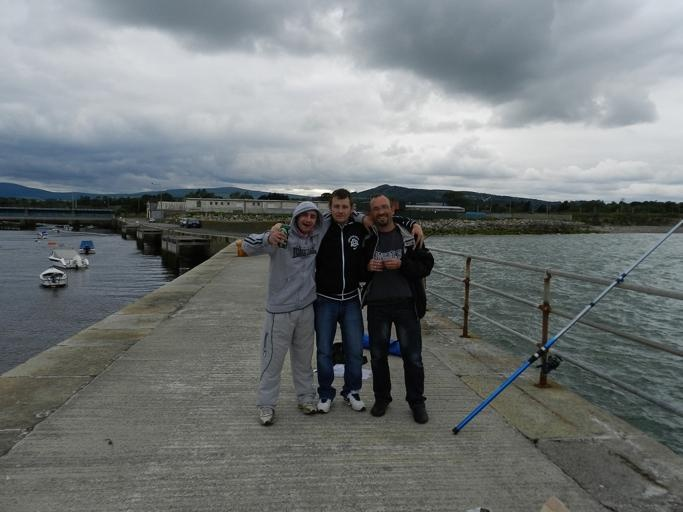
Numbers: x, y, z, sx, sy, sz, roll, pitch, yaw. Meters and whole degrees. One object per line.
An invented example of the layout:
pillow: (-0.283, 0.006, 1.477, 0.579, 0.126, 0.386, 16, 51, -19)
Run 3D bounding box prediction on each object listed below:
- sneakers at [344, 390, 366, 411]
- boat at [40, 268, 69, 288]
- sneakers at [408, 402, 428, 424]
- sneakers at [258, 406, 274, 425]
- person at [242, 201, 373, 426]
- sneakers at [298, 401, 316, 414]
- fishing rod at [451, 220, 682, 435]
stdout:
sneakers: (0.148, 1.510, 5.073, 0.115, 0.119, 0.319, 2, -4, -22)
boat: (-17.566, 1.378, 29.414, 1.556, 1.021, 1.156, 2, 13, 3)
sneakers: (0.783, 1.550, 4.804, 0.195, 0.143, 0.199, 3, 13, 10)
sneakers: (-0.724, 1.553, 4.684, 0.088, 0.088, 0.212, 3, 3, -8)
person: (-0.521, 0.544, 4.829, 0.901, 2.132, 0.698, -3, 14, -19)
sneakers: (-0.336, 1.545, 4.936, 0.099, 0.064, 0.173, 3, -4, -25)
fishing rod: (6.993, 1.434, 14.603, 10.656, 0.386, 0.375, -38, 17, 3)
